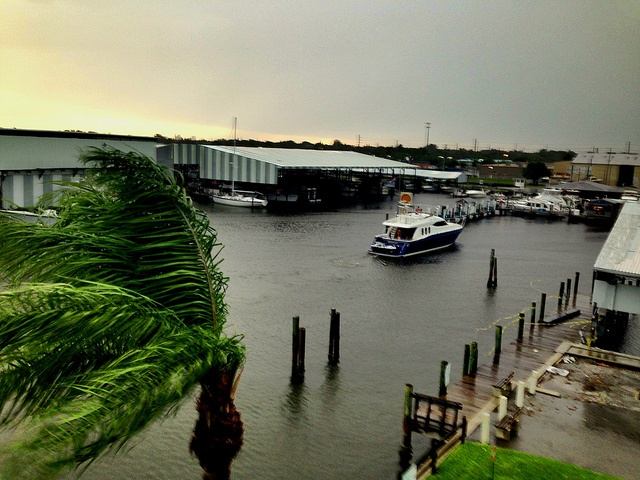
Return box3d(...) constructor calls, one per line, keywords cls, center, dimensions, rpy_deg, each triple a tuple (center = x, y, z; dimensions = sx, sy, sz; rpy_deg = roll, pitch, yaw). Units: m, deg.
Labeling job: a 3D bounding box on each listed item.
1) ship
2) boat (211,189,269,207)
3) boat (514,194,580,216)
box3d(cls="ship", center=(7.640, -0.736, 43.059), dimensions=(2.950, 2.866, 9.425), rpy_deg=(11, 15, 44))
box3d(cls="boat", center=(-10.512, -4.819, 66.842), dimensions=(8.534, 2.790, 2.478), rpy_deg=(4, 8, 19))
box3d(cls="boat", center=(27.863, -4.173, 67.808), dimensions=(6.596, 2.362, 4.815), rpy_deg=(6, 12, 20))
